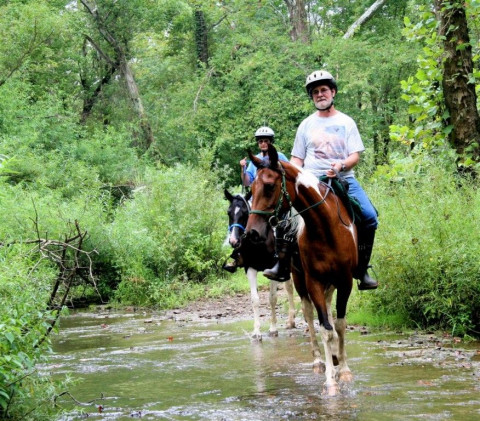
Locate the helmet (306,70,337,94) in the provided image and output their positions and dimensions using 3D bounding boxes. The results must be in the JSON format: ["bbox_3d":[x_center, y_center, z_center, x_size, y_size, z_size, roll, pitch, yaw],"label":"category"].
[{"bbox_3d":[1.218,-1.955,9.123,0.323,0.319,0.451,-1,-6,17],"label":"helmet"}]

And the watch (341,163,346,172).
[{"bbox_3d":[1.499,-0.622,8.841,0.040,0.093,0.081,2,-12,14],"label":"watch"}]

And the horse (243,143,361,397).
[{"bbox_3d":[0.964,0.767,8.494,1.289,3.084,2.285,-4,1,14],"label":"horse"}]
